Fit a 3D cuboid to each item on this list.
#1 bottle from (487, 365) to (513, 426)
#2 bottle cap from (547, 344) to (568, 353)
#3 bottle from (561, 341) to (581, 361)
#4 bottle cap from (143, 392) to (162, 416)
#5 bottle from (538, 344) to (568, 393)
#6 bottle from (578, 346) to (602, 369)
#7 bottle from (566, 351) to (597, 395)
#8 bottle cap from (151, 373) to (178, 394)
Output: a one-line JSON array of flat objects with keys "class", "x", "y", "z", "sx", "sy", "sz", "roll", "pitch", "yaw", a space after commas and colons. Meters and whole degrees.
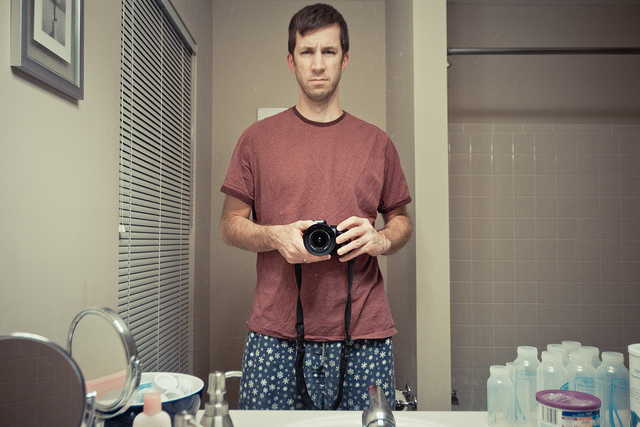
[{"class": "bottle", "x": 0.484, "y": 0.494, "z": 1.475, "sx": 0.067, "sy": 0.162, "sz": 0.037, "roll": -3, "pitch": -6, "yaw": 14}, {"class": "bottle cap", "x": 0.636, "y": 0.363, "z": 1.470, "sx": 0.038, "sy": 0.017, "sz": 0.045, "roll": 0, "pitch": -7, "yaw": 17}, {"class": "bottle", "x": 0.682, "y": 0.377, "z": 1.498, "sx": 0.046, "sy": 0.049, "sz": 0.046, "roll": -2, "pitch": -4, "yaw": 39}, {"class": "bottle cap", "x": -0.395, "y": 0.450, "z": 1.292, "sx": 0.044, "sy": 0.050, "sz": 0.046, "roll": 0, "pitch": -4, "yaw": -6}, {"class": "bottle", "x": 0.616, "y": 0.413, "z": 1.462, "sx": 0.071, "sy": 0.117, "sz": 0.027, "roll": -1, "pitch": -6, "yaw": -5}, {"class": "bottle", "x": 0.708, "y": 0.379, "z": 1.447, "sx": 0.052, "sy": 0.052, "sz": 0.053, "roll": 0, "pitch": -5, "yaw": -1}, {"class": "bottle", "x": 0.701, "y": 0.430, "z": 1.468, "sx": 0.072, "sy": 0.126, "sz": 0.072, "roll": -8, "pitch": 9, "yaw": 1}, {"class": "bottle cap", "x": -0.402, "y": 0.441, "z": 1.421, "sx": 0.076, "sy": 0.048, "sz": 0.022, "roll": -4, "pitch": -6, "yaw": 26}]
